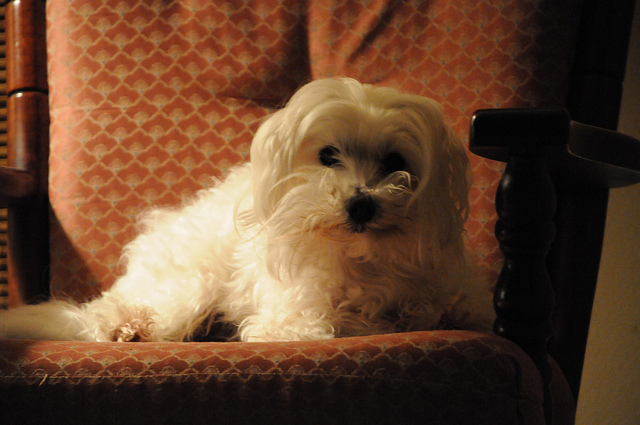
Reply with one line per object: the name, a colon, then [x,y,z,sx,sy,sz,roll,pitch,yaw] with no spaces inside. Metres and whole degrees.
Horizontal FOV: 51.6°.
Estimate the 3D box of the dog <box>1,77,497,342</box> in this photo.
dog: [-0.249,0.105,2.650,1.786,0.780,0.990,-4,1,14]
